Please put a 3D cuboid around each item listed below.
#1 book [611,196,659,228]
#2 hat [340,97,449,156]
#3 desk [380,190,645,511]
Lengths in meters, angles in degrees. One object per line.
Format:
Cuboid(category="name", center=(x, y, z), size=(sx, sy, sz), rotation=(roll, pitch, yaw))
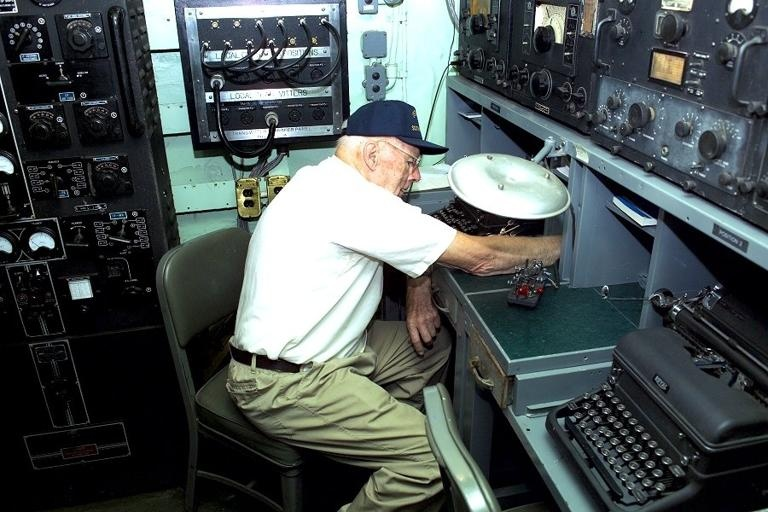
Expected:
Cuboid(category="book", center=(0.995, -0.177, 2.133), size=(0.068, 0.070, 0.227), rotation=(-9, 26, -13))
Cuboid(category="hat", center=(0.050, -0.590, 2.490), size=(0.487, 0.247, 0.320), rotation=(7, -4, 5))
Cuboid(category="desk", center=(0.536, 0.371, 2.153), size=(0.772, 0.836, 1.297), rotation=(-1, 20, -8))
